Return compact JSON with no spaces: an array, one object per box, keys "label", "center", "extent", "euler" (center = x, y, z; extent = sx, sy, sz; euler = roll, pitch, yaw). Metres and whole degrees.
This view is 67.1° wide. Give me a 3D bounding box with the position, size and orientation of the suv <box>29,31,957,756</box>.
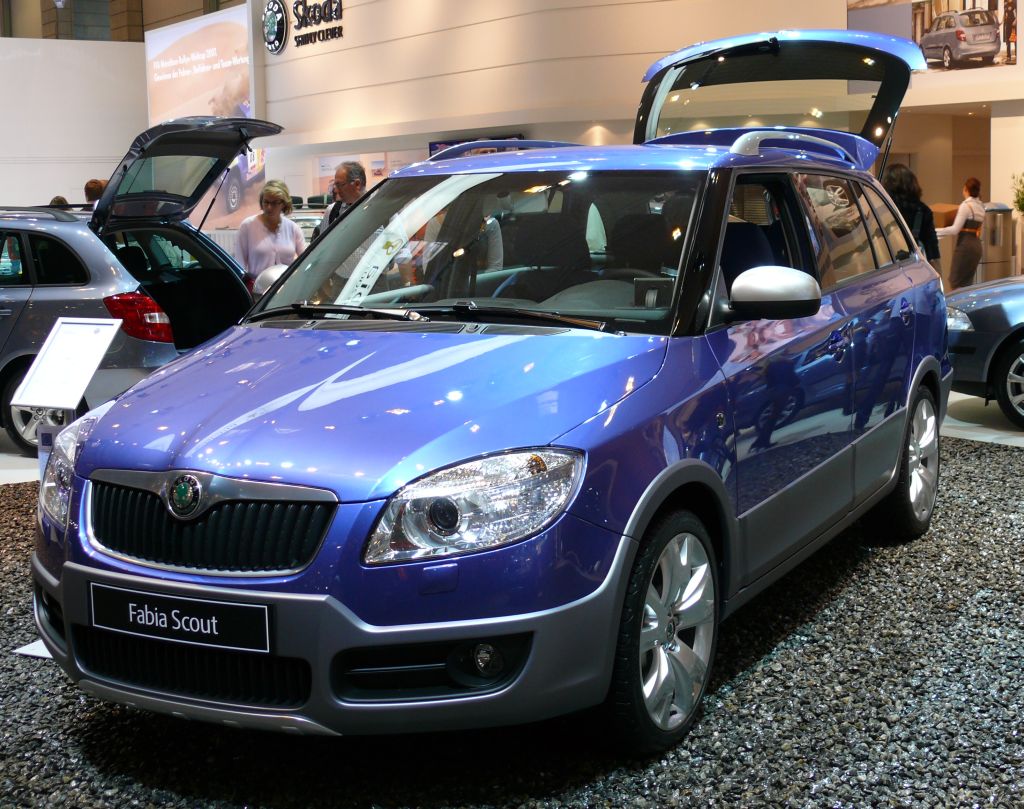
[{"label":"suv","center":[0.409,-0.378,3.334],"extent":[2.012,1.812,4.030],"euler":[3,8,37]}]
